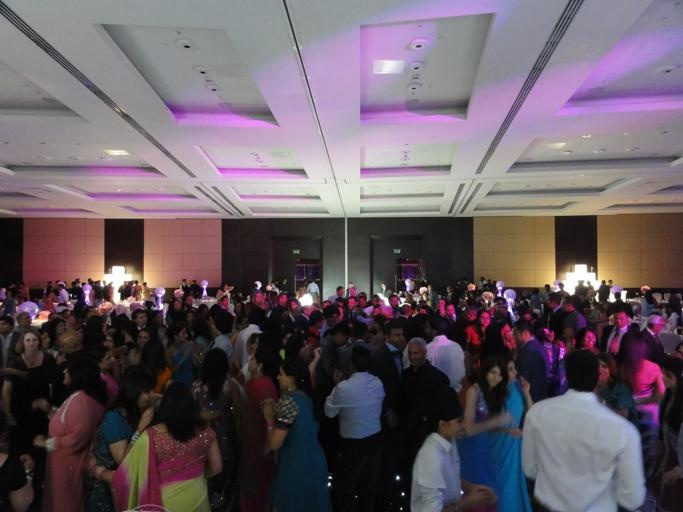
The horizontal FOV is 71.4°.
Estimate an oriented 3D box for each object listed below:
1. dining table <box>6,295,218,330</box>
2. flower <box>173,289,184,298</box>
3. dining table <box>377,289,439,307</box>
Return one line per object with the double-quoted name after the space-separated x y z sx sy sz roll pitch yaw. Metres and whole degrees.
-5.040 1.196 10.172 4.476 0.646 0.774 -1 -3 -5 "dining table"
-5.933 1.366 17.323 0.386 0.163 0.389 3 8 -29 "flower"
2.171 1.321 14.829 1.990 0.707 1.436 3 0 4 "dining table"
